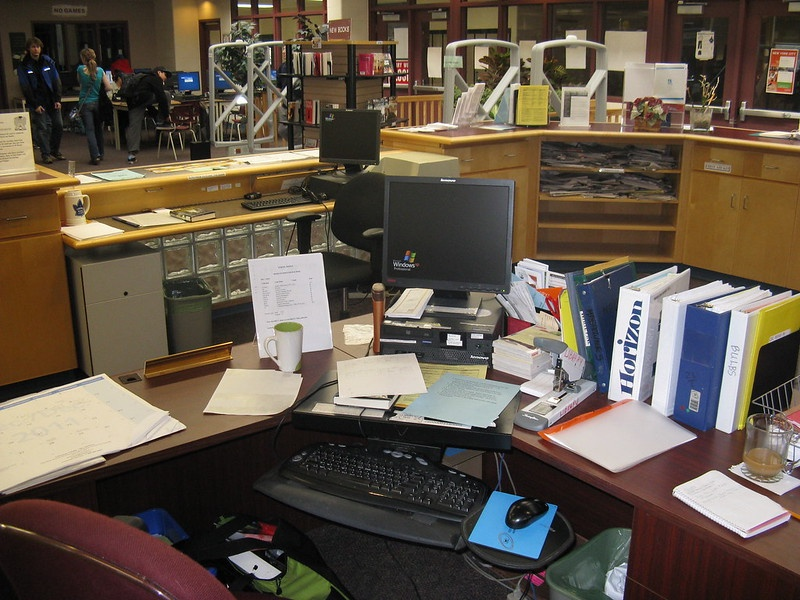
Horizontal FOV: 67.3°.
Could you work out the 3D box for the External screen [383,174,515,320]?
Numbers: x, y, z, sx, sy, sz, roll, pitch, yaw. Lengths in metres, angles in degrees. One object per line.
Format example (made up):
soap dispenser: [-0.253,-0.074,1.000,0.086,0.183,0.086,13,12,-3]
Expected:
External screen: [0.179,-0.195,2.186,0.511,0.443,0.045,2,1,14]

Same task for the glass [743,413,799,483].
glass: [0.937,0.369,1.573,0.108,0.162,0.180,9,12,41]

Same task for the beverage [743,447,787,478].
beverage: [0.930,0.415,1.530,0.098,0.068,0.063,3,20,14]

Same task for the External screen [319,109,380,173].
External screen: [-0.353,-1.164,4.358,0.591,0.586,0.249,3,8,9]
